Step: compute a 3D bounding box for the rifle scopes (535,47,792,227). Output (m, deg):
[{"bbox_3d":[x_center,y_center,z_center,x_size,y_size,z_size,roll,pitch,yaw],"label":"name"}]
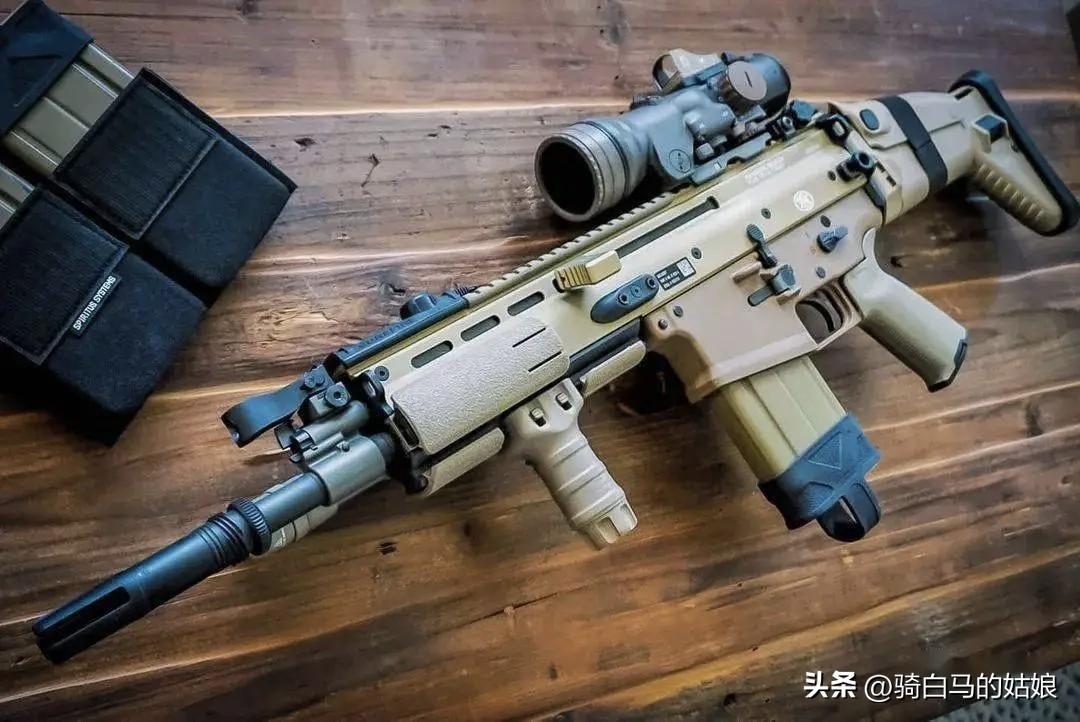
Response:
[{"bbox_3d":[0.366,-0.655,2.399,0.796,0.278,0.376,-28,46,-25],"label":"rifle scopes"}]
